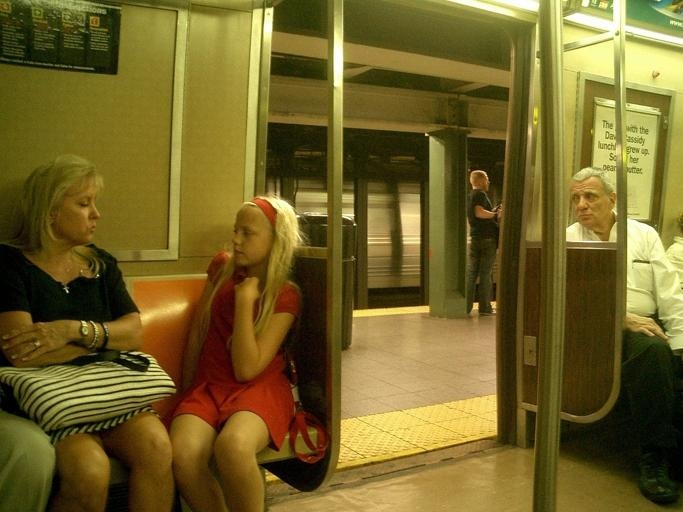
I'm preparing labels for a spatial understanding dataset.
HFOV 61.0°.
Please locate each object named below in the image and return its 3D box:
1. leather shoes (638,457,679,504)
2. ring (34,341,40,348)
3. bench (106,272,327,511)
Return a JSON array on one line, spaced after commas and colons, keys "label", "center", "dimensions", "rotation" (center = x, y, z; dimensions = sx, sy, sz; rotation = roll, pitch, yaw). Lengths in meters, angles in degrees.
[{"label": "leather shoes", "center": [1.784, 1.278, 3.292], "dimensions": [0.120, 0.122, 0.334], "rotation": [-12, -3, 9]}, {"label": "ring", "center": [-1.211, 0.352, 2.306], "dimensions": [0.024, 0.022, 0.007], "rotation": [5, -22, -26]}, {"label": "bench", "center": [-0.772, 0.647, 3.616], "dimensions": [1.324, 1.225, 0.910], "rotation": [1, -1, -39]}]
